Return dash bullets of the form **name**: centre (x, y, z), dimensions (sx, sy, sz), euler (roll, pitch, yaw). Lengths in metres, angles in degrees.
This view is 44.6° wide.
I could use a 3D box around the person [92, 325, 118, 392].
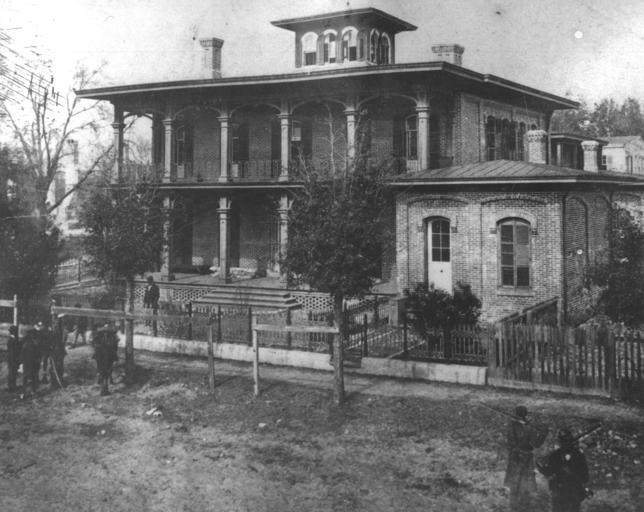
- **person**: centre (-5.600, 2.592, 20.284), dimensions (0.579, 1.573, 2.311), euler (1, 1, -16)
